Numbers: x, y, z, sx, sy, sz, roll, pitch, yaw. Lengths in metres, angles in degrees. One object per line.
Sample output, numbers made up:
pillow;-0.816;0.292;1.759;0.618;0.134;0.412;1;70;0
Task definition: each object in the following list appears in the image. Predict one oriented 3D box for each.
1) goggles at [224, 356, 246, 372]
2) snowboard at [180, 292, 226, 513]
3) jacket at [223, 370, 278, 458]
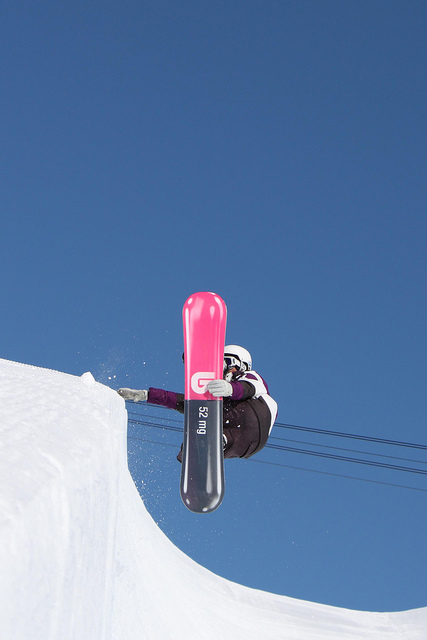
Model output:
goggles;0.106;0.229;4.788;0.083;0.050;0.074;0;24;3
snowboard;-0.041;0.358;3.904;0.174;0.965;0.146;0;6;0
jacket;0.194;0.447;4.614;0.265;0.567;0.597;-1;24;1
